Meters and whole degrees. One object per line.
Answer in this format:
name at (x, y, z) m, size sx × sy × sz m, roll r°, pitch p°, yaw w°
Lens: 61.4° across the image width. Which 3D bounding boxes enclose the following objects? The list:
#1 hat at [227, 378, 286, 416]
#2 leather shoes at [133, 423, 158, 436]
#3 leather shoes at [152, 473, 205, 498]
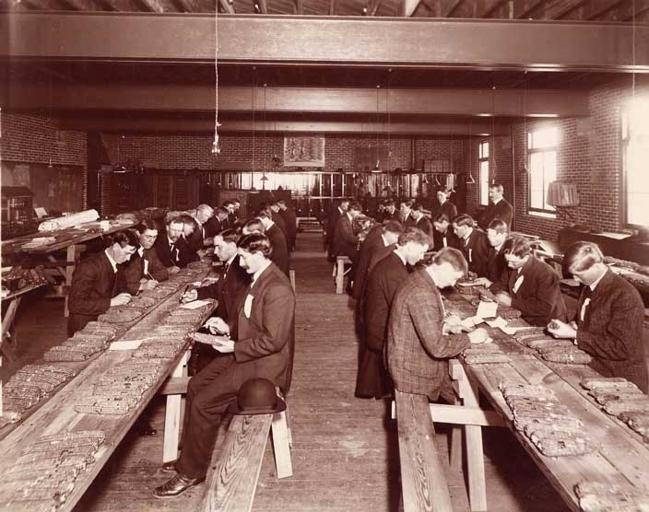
hat at (-0.508, 1.087, 4.167) m, size 0.422 × 0.250 × 0.271 m, roll -2°, pitch 11°, yaw -12°
leather shoes at (-1.806, 1.742, 5.515) m, size 0.262 × 0.129 × 0.094 m, roll 1°, pitch 7°, yaw -1°
leather shoes at (-1.210, 1.890, 4.606) m, size 0.440 × 0.174 × 0.167 m, roll -1°, pitch 22°, yaw -30°
